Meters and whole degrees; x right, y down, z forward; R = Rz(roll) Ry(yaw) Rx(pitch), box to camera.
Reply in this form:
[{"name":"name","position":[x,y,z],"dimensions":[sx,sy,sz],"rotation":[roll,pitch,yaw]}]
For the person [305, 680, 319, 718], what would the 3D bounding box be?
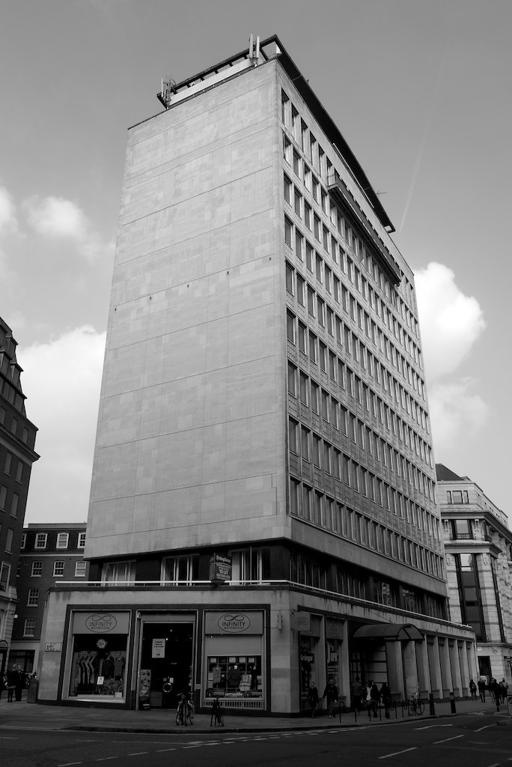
[{"name":"person","position":[3.051,16.907,31.874],"dimensions":[0.559,1.534,1.574],"rotation":[-2,-25,7]}]
